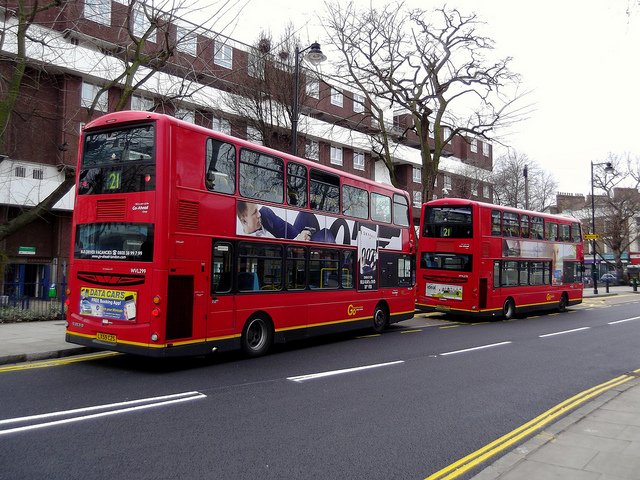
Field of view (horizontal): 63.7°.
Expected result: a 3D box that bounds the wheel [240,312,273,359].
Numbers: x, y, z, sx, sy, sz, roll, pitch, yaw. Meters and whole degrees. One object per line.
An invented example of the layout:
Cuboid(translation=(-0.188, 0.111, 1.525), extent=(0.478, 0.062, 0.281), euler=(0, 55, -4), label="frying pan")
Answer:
Cuboid(translation=(-1.575, 2.267, 12.396), extent=(0.291, 0.952, 0.849), euler=(-14, -21, 39), label="wheel")

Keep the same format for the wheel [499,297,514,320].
Cuboid(translation=(7.783, 2.844, 21.759), extent=(0.271, 0.892, 0.793), euler=(-5, -14, 39), label="wheel")

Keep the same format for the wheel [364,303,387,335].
Cuboid(translation=(1.750, 2.481, 16.632), extent=(0.321, 0.904, 0.817), euler=(-9, 8, 27), label="wheel")

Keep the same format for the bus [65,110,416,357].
Cuboid(translation=(-1.007, 0.211, 15.606), extent=(3.387, 5.429, 11.699), euler=(0, -3, 35), label="bus")

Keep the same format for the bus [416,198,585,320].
Cuboid(translation=(8.817, 0.859, 23.976), extent=(9.576, 5.045, 2.729), euler=(3, -2, -38), label="bus")
